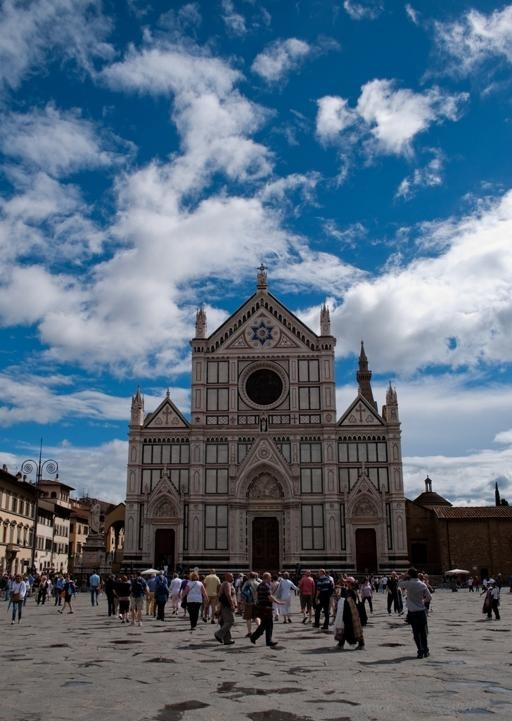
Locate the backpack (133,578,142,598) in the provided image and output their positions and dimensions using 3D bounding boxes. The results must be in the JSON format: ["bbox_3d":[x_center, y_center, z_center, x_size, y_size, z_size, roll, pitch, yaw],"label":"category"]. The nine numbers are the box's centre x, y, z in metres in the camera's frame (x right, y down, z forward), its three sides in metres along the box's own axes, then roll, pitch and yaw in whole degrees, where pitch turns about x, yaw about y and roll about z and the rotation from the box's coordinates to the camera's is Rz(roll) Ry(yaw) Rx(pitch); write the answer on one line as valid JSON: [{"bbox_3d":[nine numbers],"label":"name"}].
[{"bbox_3d":[-3.772,7.239,19.378,0.270,0.370,0.362,7,-31,-11],"label":"backpack"}]

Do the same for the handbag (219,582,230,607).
[{"bbox_3d":[-0.671,5.226,13.514,0.266,0.479,0.285,-4,-15,7],"label":"handbag"}]

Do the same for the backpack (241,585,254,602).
[{"bbox_3d":[-0.198,5.746,15.004,0.254,0.483,0.447,-3,-15,5],"label":"backpack"}]

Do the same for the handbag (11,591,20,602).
[{"bbox_3d":[-7.901,7.777,20.053,0.173,0.225,0.226,2,-1,-42],"label":"handbag"}]
